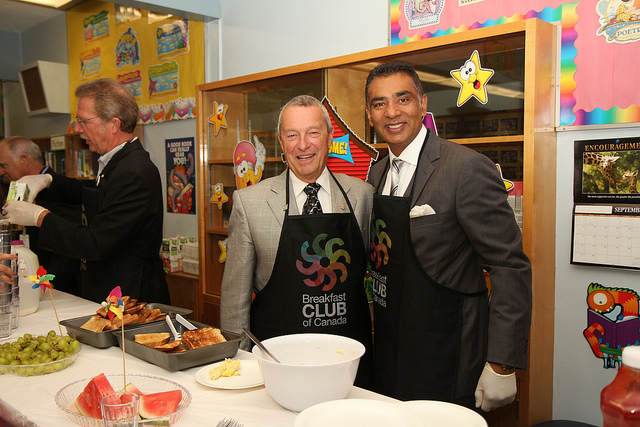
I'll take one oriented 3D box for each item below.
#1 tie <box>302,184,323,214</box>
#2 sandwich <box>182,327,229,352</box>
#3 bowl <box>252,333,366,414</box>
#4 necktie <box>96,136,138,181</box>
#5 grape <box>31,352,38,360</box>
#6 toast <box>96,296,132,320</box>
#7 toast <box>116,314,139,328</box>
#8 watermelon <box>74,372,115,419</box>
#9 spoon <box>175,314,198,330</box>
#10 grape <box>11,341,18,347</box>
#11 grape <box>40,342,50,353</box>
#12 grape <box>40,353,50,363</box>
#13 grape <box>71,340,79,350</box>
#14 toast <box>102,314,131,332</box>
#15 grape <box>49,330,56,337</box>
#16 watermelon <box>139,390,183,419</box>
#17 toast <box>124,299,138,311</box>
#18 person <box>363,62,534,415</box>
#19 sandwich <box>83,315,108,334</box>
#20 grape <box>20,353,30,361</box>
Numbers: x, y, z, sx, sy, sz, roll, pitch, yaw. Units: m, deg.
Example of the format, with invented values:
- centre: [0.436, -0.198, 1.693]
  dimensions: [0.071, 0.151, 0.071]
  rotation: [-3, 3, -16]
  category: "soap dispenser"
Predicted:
- centre: [-0.046, -0.078, 2.492]
  dimensions: [0.145, 0.255, 0.029]
  rotation: [1, -17, 2]
  category: "tie"
- centre: [-0.523, 0.580, 2.033]
  dimensions: [0.199, 0.064, 0.130]
  rotation: [-5, 8, -26]
  category: "sandwich"
- centre: [-0.039, 0.645, 1.768]
  dimensions: [0.443, 0.250, 0.273]
  rotation: [-3, 7, -10]
  category: "bowl"
- centre: [-1.519, -0.399, 3.187]
  dimensions: [0.221, 0.184, 0.297]
  rotation: [-3, 17, 38]
  category: "necktie"
- centre: [-1.276, 0.638, 1.967]
  dimensions: [0.021, 0.008, 0.022]
  rotation: [1, 1, 43]
  category: "grape"
- centre: [-1.046, 0.483, 2.242]
  dimensions: [0.173, 0.049, 0.195]
  rotation: [6, 9, 10]
  category: "toast"
- centre: [-0.944, 0.539, 2.192]
  dimensions: [0.094, 0.027, 0.052]
  rotation: [-27, -29, 13]
  category: "toast"
- centre: [-0.811, 0.675, 1.618]
  dimensions: [0.211, 0.112, 0.111]
  rotation: [5, 9, 43]
  category: "watermelon"
- centre: [-0.663, 0.543, 2.192]
  dimensions: [0.143, 0.065, 0.042]
  rotation: [4, 8, 38]
  category: "spoon"
- centre: [-1.387, 0.595, 2.002]
  dimensions: [0.030, 0.018, 0.030]
  rotation: [-4, 0, -37]
  category: "grape"
- centre: [-1.244, 0.611, 1.998]
  dimensions: [0.035, 0.037, 0.034]
  rotation: [5, 9, 42]
  category: "grape"
- centre: [-1.222, 0.643, 1.966]
  dimensions: [0.022, 0.028, 0.049]
  rotation: [1, 7, 17]
  category: "grape"
- centre: [-1.128, 0.609, 2.033]
  dimensions: [0.031, 0.025, 0.032]
  rotation: [-4, 8, -26]
  category: "grape"
- centre: [-1.009, 0.537, 2.184]
  dimensions: [0.109, 0.030, 0.061]
  rotation: [-35, 30, -18]
  category: "toast"
- centre: [-1.244, 0.563, 2.063]
  dimensions: [0.023, 0.024, 0.028]
  rotation: [32, -25, 17]
  category: "grape"
- centre: [-0.595, 0.715, 1.660]
  dimensions: [0.151, 0.058, 0.094]
  rotation: [-4, 7, -19]
  category: "watermelon"
- centre: [-0.963, 0.469, 2.242]
  dimensions: [0.065, 0.016, 0.067]
  rotation: [-30, 6, -5]
  category: "toast"
- centre: [0.623, 0.109, 2.285]
  dimensions: [0.867, 1.818, 0.368]
  rotation: [2, 7, 27]
  category: "person"
- centre: [-1.103, 0.549, 2.180]
  dimensions: [0.076, 0.022, 0.074]
  rotation: [8, 35, 25]
  category: "sandwich"
- centre: [-1.300, 0.633, 1.945]
  dimensions: [0.029, 0.017, 0.029]
  rotation: [-24, 17, -27]
  category: "grape"
